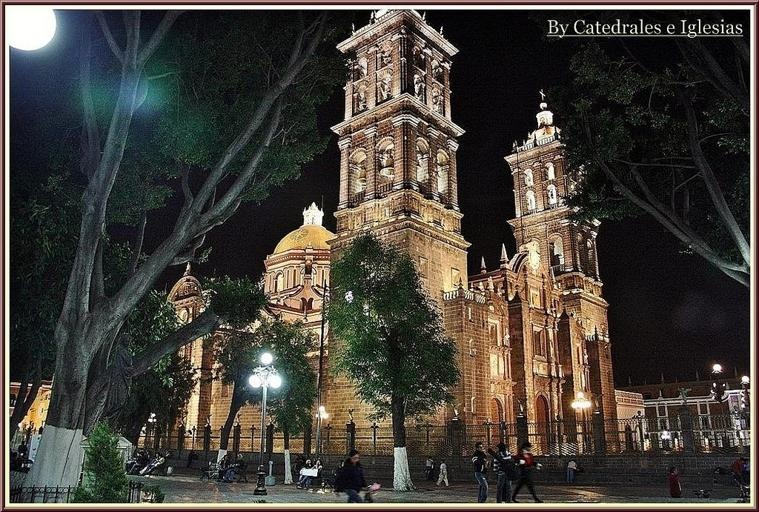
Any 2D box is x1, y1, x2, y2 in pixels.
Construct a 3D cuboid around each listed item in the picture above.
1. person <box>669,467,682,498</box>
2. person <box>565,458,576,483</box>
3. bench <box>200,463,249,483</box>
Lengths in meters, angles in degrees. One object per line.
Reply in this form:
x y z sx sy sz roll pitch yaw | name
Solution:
9.594 7.315 19.793 0.321 0.950 1.204 -10 -24 21 | person
8.877 9.879 28.091 0.493 1.122 1.144 -7 -23 14 | person
-7.230 10.072 28.309 1.780 0.889 2.976 7 -24 -18 | bench
